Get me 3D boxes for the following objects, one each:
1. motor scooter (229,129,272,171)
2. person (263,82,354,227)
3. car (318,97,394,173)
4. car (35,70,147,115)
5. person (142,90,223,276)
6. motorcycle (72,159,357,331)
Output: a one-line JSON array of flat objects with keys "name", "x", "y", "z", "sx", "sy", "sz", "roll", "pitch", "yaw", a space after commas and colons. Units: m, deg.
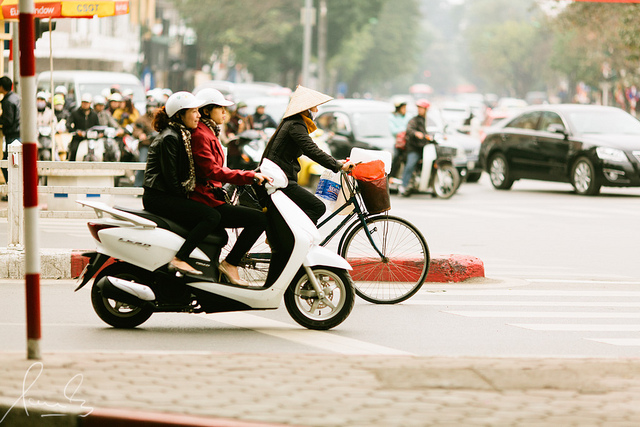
[{"name": "motor scooter", "x": -1.583, "y": -1.433, "z": 23.088, "sx": 0.957, "sy": 0.996, "sz": 1.589, "roll": -4, "pitch": 2, "yaw": -17}, {"name": "person", "x": -0.049, "y": -0.671, "z": 12.116, "sx": 0.640, "sy": 1.402, "sz": 1.499, "roll": -5, "pitch": 2, "yaw": -4}, {"name": "car", "x": 1.168, "y": -1.892, "z": 22.974, "sx": 1.420, "sy": 1.139, "sz": 2.337, "roll": -5, "pitch": 12, "yaw": -34}, {"name": "car", "x": -6.003, "y": -3.444, "z": 26.599, "sx": 1.731, "sy": 1.357, "sz": 2.786, "roll": -2, "pitch": 2, "yaw": -38}, {"name": "person", "x": -1.531, "y": -0.328, "z": 11.090, "sx": 0.942, "sy": 1.940, "sz": 0.442, "roll": 8, "pitch": 7, "yaw": 32}, {"name": "motorcycle", "x": -1.139, "y": 0.343, "z": 11.294, "sx": 3.060, "sy": 1.863, "sz": 0.976, "roll": 1, "pitch": 3, "yaw": -8}]
